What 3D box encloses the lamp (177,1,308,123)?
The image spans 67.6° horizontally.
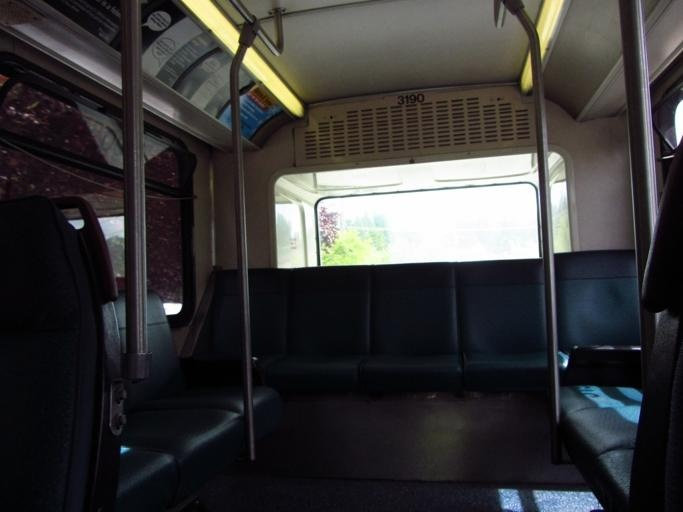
[{"bbox_3d":[-0.564,-1.078,2.809,0.066,0.104,1.215,34,5,16],"label":"lamp"}]
